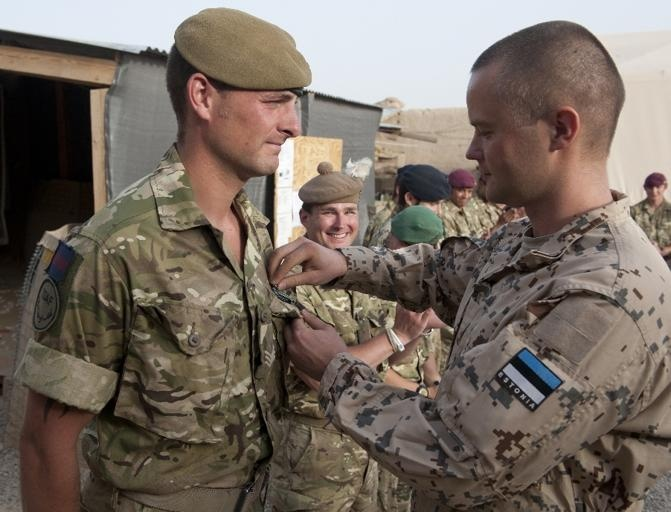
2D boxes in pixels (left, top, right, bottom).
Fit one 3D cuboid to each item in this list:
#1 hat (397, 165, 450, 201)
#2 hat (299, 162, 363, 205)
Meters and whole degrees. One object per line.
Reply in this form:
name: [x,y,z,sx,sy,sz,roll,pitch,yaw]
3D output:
hat: [0.802,-0.722,6.443,0.327,0.170,0.405,-1,37,-27]
hat: [-0.028,-0.477,4.306,0.332,0.192,0.300,1,13,6]
